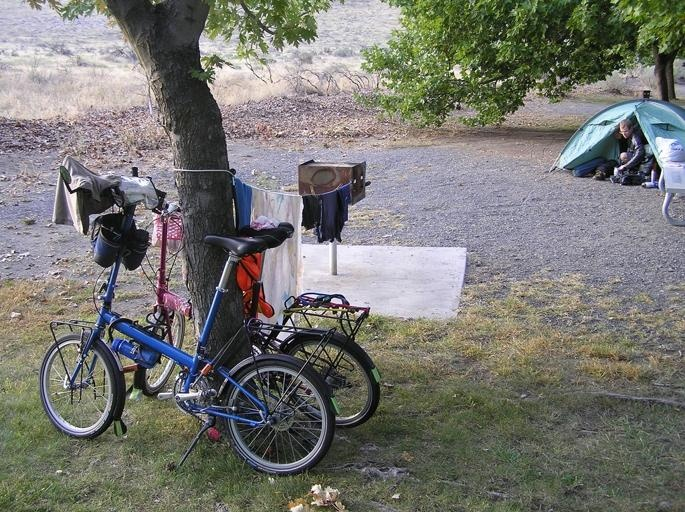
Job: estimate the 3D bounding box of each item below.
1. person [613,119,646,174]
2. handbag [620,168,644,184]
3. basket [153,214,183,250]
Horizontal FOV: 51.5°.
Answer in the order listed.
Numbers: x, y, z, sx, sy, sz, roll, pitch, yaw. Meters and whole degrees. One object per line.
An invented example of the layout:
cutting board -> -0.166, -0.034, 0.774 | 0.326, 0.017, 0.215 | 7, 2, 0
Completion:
person -> 5.751, -2.193, 14.169 | 0.514, 1.071, 0.657 | 1, 16, -1
handbag -> 5.720, -1.557, 14.023 | 0.404, 0.284, 0.305 | 2, 15, 5
basket -> -1.726, -0.222, 7.069 | 0.330, 0.375, 0.118 | -5, 18, -24
